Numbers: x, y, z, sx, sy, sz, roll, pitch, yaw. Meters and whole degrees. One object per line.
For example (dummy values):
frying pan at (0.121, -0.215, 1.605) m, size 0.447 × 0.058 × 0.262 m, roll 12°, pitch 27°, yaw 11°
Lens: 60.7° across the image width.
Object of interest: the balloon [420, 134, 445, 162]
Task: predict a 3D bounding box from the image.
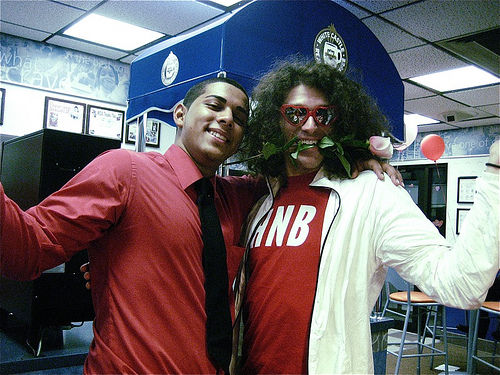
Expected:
balloon at (1.147, -0.252, 2.686) m, size 0.195 × 0.179 × 0.195 m, roll -6°, pitch -12°, yaw 22°
